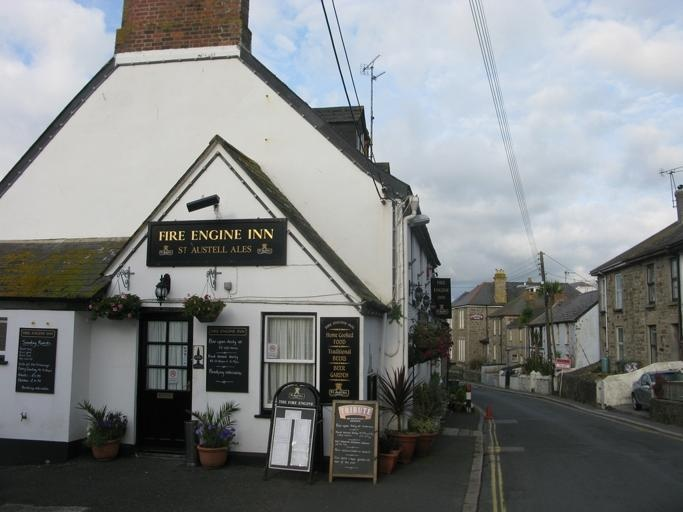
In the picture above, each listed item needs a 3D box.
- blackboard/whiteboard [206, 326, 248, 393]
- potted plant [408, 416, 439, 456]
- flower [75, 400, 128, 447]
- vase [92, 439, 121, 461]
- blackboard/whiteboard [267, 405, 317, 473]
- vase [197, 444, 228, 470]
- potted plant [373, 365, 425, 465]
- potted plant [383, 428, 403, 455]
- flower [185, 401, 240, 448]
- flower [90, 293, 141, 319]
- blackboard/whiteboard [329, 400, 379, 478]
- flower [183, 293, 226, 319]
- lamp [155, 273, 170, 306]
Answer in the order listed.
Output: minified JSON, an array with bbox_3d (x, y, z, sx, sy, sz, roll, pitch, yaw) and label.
[{"bbox_3d":[-2.751,2.476,17.035,1.062,1.707,0.031,3,9,-13],"label":"blackboard/whiteboard"},{"bbox_3d":[2.124,4.555,18.061,0.761,0.893,0.838,2,-13,-5],"label":"potted plant"},{"bbox_3d":[-5.699,4.239,17.341,0.765,1.329,1.103,-2,-1,29],"label":"flower"},{"bbox_3d":[-5.642,4.665,17.122,0.628,0.479,0.368,1,-2,-21],"label":"vase"},{"bbox_3d":[-1.095,4.101,15.958,1.290,1.720,0.129,2,-21,5],"label":"blackboard/whiteboard"},{"bbox_3d":[-3.021,4.662,16.598,0.521,0.365,0.524,-11,-16,43],"label":"vase"},{"bbox_3d":[1.346,3.831,17.575,0.762,2.502,0.974,0,-2,21],"label":"potted plant"},{"bbox_3d":[1.120,4.402,16.827,0.343,0.431,0.349,-4,-3,-20],"label":"potted plant"},{"bbox_3d":[-2.946,3.966,16.768,1.063,1.058,0.510,1,-2,0],"label":"flower"},{"bbox_3d":[-5.367,1.250,17.207,0.726,0.541,0.756,-4,-4,8],"label":"flower"},{"bbox_3d":[0.277,4.149,15.956,1.077,1.734,0.558,1,-2,1],"label":"blackboard/whiteboard"},{"bbox_3d":[-3.237,1.254,16.880,0.959,0.643,0.527,1,-2,-14],"label":"flower"},{"bbox_3d":[-4.342,0.803,17.390,0.343,0.771,0.290,1,-2,-11],"label":"lamp"}]
